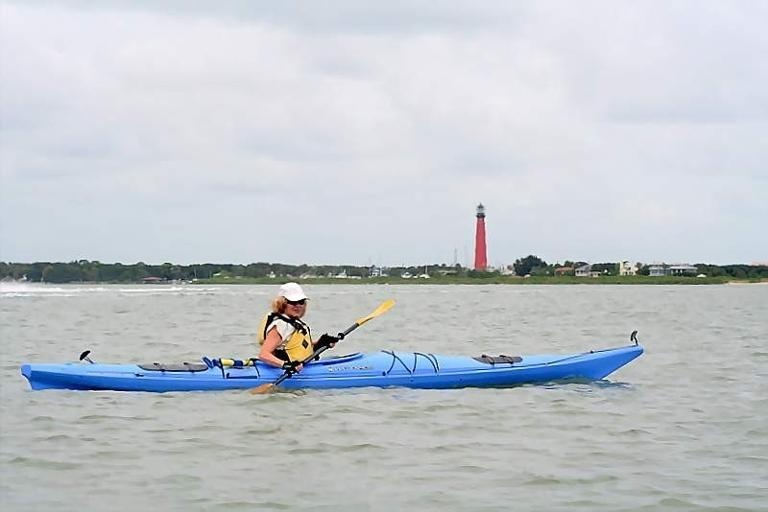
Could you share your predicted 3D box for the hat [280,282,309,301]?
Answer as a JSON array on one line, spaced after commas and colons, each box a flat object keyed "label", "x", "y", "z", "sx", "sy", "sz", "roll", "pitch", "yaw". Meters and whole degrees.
[{"label": "hat", "x": -1.766, "y": 0.698, "z": 22.635, "sx": 0.504, "sy": 0.380, "sz": 0.562, "roll": 3, "pitch": -5, "yaw": -5}]

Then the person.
[{"label": "person", "x": -1.812, "y": 1.352, "z": 22.676, "sx": 1.249, "sy": 1.712, "sz": 1.120, "roll": 2, "pitch": -5, "yaw": 6}]
